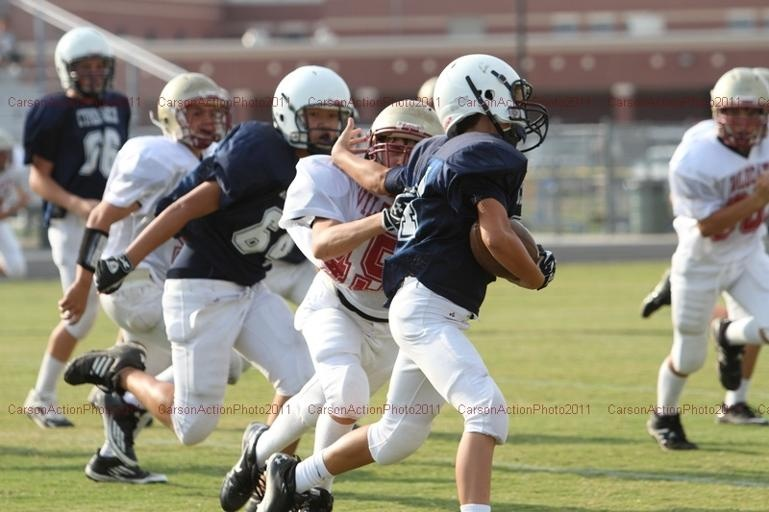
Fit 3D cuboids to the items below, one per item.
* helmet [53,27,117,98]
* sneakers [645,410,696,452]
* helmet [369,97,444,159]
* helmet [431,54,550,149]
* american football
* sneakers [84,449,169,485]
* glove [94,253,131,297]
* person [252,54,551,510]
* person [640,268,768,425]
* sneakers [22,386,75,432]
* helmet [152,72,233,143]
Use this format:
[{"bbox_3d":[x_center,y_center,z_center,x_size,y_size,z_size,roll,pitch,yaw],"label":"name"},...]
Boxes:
[{"bbox_3d":[-2.380,-1.518,10.274,0.426,0.436,0.518,-9,18,-38],"label":"helmet"},{"bbox_3d":[2.115,1.263,9.544,0.350,0.254,0.219,1,10,8],"label":"sneakers"},{"bbox_3d":[0.124,-0.758,8.468,0.445,0.421,0.523,9,-3,-9],"label":"helmet"},{"bbox_3d":[0.659,-0.992,8.393,0.762,0.528,0.486,-5,1,-21],"label":"helmet"},{"bbox_3d":[0.715,-0.030,8.035,0.451,0.259,0.360,36,8,-45],"label":"american football"},{"bbox_3d":[-1.710,1.474,9.118,0.721,0.258,0.201,3,-2,-5],"label":"sneakers"},{"bbox_3d":[-1.787,0.139,8.642,0.287,0.132,0.214,-33,-32,17],"label":"glove"},{"bbox_3d":[0.273,0.174,8.134,1.574,2.806,1.031,0,10,4],"label":"person"},{"bbox_3d":[2.562,0.799,10.089,0.417,1.223,0.882,26,32,35],"label":"person"},{"bbox_3d":[-2.610,1.196,10.062,0.120,0.225,0.386,49,30,20],"label":"sneakers"},{"bbox_3d":[-1.410,-1.064,9.210,0.610,0.425,0.451,7,12,23],"label":"helmet"}]
